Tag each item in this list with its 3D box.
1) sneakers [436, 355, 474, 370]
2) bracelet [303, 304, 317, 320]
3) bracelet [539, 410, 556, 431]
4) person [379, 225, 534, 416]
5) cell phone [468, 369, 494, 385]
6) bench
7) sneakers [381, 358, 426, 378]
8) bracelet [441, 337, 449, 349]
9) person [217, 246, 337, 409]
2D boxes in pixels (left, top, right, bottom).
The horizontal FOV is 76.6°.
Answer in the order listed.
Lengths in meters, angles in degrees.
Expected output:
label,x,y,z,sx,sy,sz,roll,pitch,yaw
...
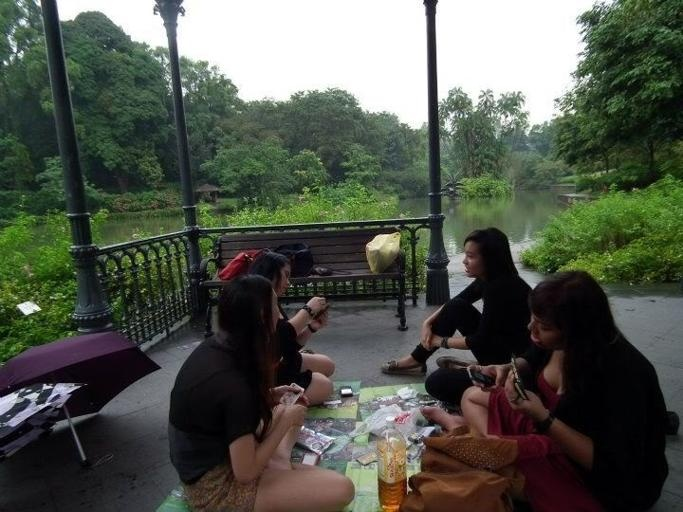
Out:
label,x,y,z,sx,sy,sz,roll,pitch,yaw
sneakers,1.025,0.982,4.000,0.379,0.149,0.137,6,11,12
bracelet,-0.267,0.466,3.674,0.078,0.119,0.109,-40,5,35
bracelet,1.055,0.845,2.222,0.081,0.058,0.092,-40,-19,9
person,0.936,0.485,3.683,1.099,1.343,1.366,-3,5,-37
cell phone,0.949,0.819,2.905,0.183,0.042,0.089,19,37,-13
bench,-0.475,0.308,5.536,2.504,1.128,0.939,-3,8,6
sneakers,0.585,1.054,4.083,0.373,0.112,0.149,4,0,14
bracelet,0.886,0.752,3.724,0.062,0.093,0.088,2,2,11
person,-0.433,0.547,3.706,0.861,1.220,0.739,3,-3,6
